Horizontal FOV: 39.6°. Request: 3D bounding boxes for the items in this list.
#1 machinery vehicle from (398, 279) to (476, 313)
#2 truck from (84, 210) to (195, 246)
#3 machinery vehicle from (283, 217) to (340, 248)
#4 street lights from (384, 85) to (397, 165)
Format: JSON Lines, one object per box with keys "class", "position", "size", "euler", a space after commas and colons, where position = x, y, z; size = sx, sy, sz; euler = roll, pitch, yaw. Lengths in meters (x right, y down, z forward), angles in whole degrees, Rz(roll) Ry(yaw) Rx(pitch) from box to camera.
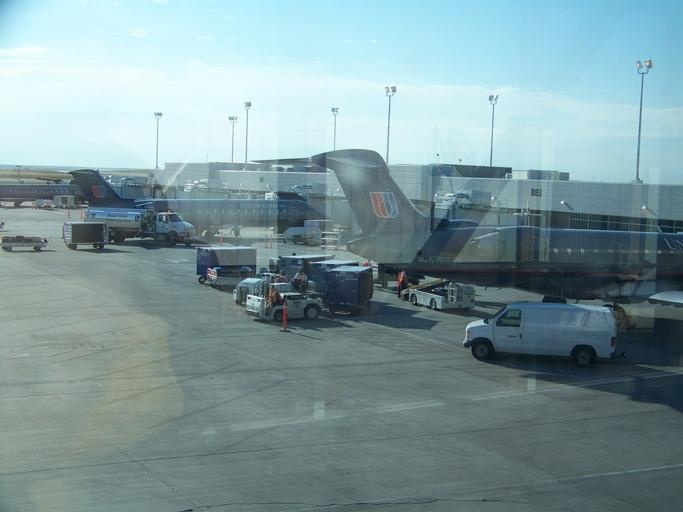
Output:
{"class": "machinery vehicle", "position": [4.876, 1.910, 47.769], "size": [3.019, 1.261, 1.911], "euler": [7, 9, 43]}
{"class": "truck", "position": [-15.432, -2.576, 73.059], "size": [7.975, 2.174, 2.583], "euler": [4, 11, 10]}
{"class": "machinery vehicle", "position": [-2.343, -1.884, 77.776], "size": [4.746, 1.819, 2.298], "euler": [0, 4, 1]}
{"class": "street lights", "position": [0.247, -0.709, 4.981], "size": [0.081, 0.367, 0.085], "euler": [3, -14, -6]}
